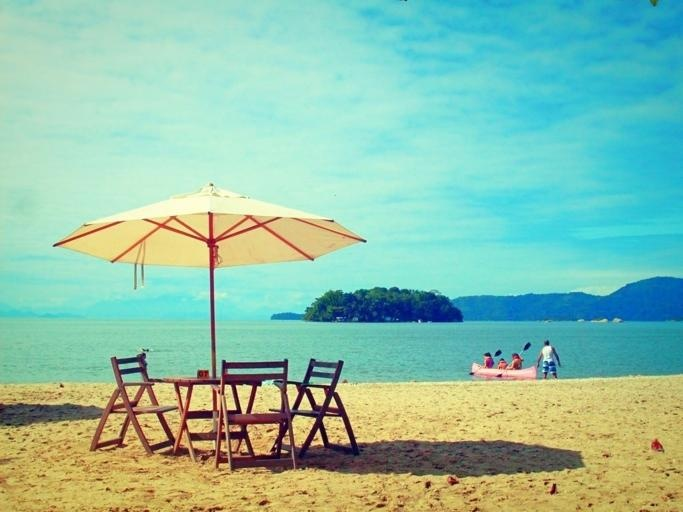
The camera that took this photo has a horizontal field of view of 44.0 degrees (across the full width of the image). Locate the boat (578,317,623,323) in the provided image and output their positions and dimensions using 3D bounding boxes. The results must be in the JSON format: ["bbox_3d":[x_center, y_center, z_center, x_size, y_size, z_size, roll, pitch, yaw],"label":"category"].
[{"bbox_3d":[108.600,26.415,349.485,17.630,1.602,2.395,0,-17,-13],"label":"boat"}]

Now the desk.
[{"bbox_3d":[-2.567,3.087,16.208,2.298,1.474,1.934,4,-13,-18],"label":"desk"}]
